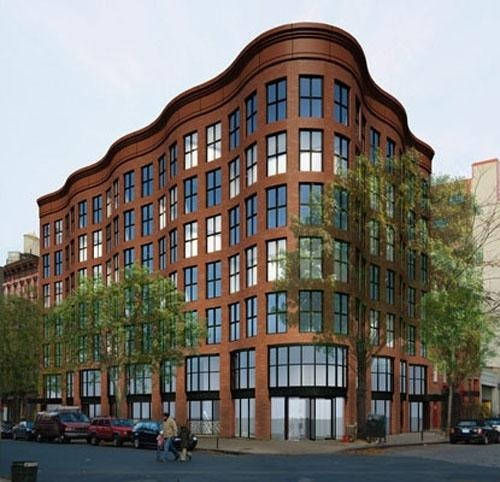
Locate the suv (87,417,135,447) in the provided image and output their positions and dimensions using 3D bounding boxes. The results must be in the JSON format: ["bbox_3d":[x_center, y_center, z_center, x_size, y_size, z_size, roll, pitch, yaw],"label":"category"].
[{"bbox_3d":[-9.135,12.927,84.106,1.617,1.795,3.064,10,-24,-35],"label":"suv"}]

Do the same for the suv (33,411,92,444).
[{"bbox_3d":[-12.923,13.083,87.583,2.081,2.042,3.978,10,-22,-32],"label":"suv"}]

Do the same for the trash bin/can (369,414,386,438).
[{"bbox_3d":[8.693,12.547,84.165,1.141,2.676,1.347,1,-7,0],"label":"trash bin/can"}]
